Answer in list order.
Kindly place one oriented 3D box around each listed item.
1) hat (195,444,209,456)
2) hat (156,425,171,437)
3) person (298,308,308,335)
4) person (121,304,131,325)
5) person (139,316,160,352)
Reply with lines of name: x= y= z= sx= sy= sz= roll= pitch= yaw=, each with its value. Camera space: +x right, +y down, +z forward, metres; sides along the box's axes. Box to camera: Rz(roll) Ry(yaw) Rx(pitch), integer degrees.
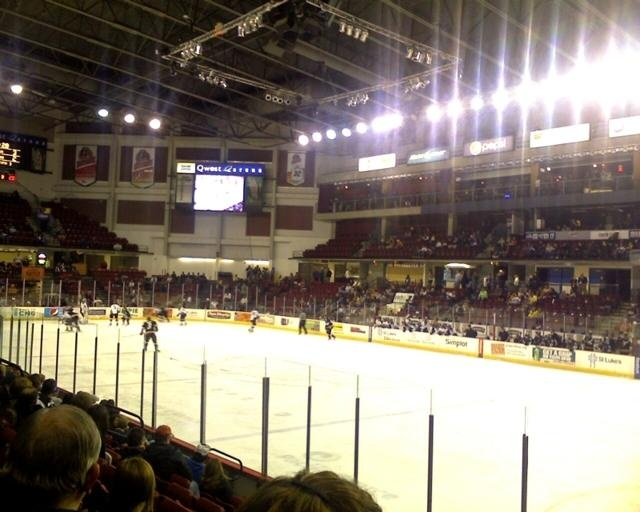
hat: x=-2.001 y=3.319 z=10.370 sx=0.176 sy=0.163 sz=0.175 roll=13 pitch=-6 yaw=-32
hat: x=-2.537 y=2.906 z=9.971 sx=0.219 sy=0.141 sz=0.217 roll=4 pitch=-8 yaw=-33
person: x=-0.919 y=3.610 z=33.386 sx=0.515 sy=1.309 sz=1.466 roll=2 pitch=-2 yaw=-2
person: x=-10.777 y=3.274 z=33.753 sx=0.530 sy=0.644 sz=1.551 roll=-17 pitch=4 yaw=-12
person: x=-5.591 y=2.478 z=20.103 sx=0.463 sy=1.199 sz=0.375 roll=-2 pitch=19 yaw=-10
